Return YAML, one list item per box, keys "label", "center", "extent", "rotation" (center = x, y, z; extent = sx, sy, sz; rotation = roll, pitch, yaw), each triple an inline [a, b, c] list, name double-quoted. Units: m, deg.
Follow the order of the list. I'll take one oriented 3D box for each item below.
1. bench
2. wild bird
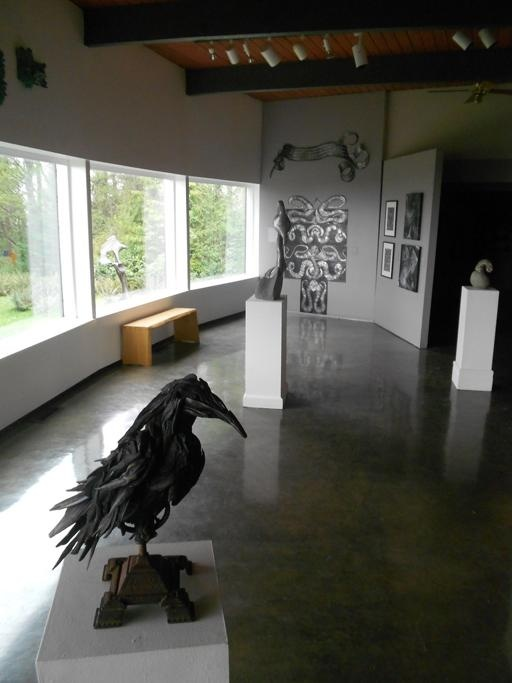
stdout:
- label: "bench"
  center: [-1.340, -0.099, 7.050]
  extent: [0.571, 0.556, 1.486]
  rotation: [3, 12, 13]
- label: "wild bird"
  center: [-0.290, 0.378, 1.336]
  extent: [0.491, 0.579, 0.305]
  rotation: [-4, 12, -19]
